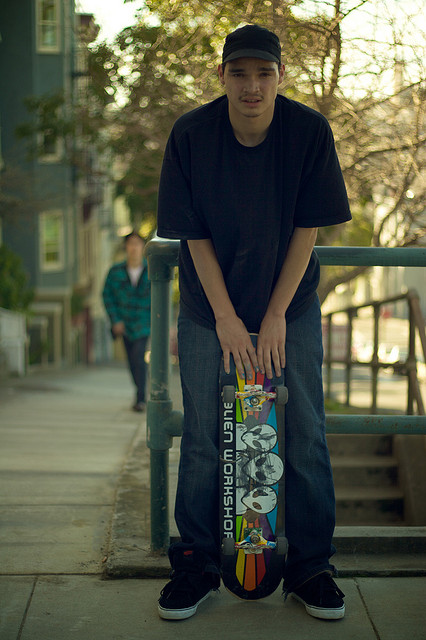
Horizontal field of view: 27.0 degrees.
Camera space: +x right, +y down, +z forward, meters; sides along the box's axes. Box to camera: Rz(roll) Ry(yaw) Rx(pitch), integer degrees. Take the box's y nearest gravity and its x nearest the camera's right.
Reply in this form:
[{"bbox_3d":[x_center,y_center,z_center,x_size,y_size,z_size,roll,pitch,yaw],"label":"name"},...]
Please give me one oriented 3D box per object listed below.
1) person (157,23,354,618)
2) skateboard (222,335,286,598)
[{"bbox_3d":[0.123,-0.005,2.755,0.621,1.740,0.511,2,12,1],"label":"person"},{"bbox_3d":[0.122,0.449,2.772,0.210,0.783,0.223,2,12,0],"label":"skateboard"}]
